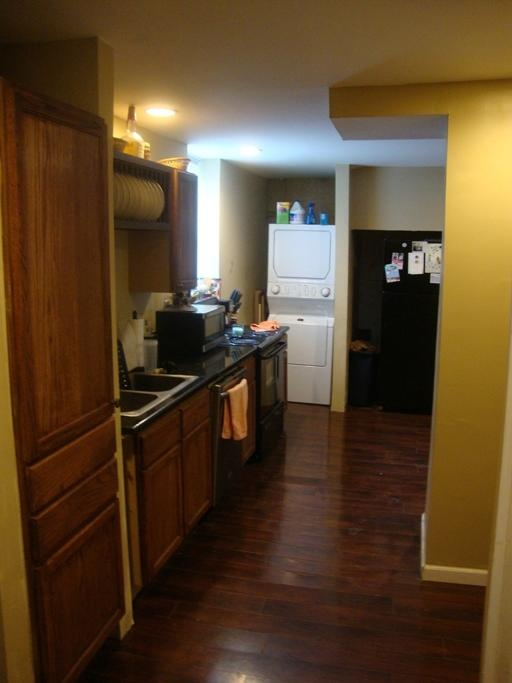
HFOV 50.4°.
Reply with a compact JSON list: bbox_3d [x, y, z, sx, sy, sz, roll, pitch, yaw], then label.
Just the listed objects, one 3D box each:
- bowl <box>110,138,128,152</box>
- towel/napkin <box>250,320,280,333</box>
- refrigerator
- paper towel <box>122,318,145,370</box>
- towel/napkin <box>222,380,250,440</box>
[{"bbox_3d":[-0.596,-0.860,2.381,0.078,0.067,0.088,5,20,8],"label":"bowl"},{"bbox_3d":[0.082,-0.121,4.485,0.163,0.063,0.137,-2,9,-15],"label":"towel/napkin"},{"bbox_3d":[0.430,-0.268,5.386,0.655,1.761,0.445,1,7,5],"label":"refrigerator"},{"bbox_3d":[-0.679,0.013,3.031,0.081,0.266,0.261,2,7,16],"label":"paper towel"},{"bbox_3d":[-0.121,0.377,3.057,0.067,0.267,0.335,1,5,13],"label":"towel/napkin"}]
